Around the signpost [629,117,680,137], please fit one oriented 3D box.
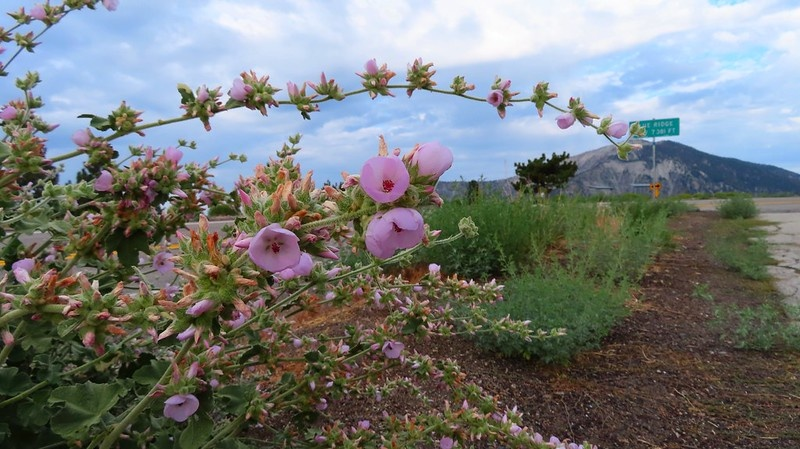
[{"bbox_3d":[20.592,-7.688,34.270,2.181,1.339,5.472,5,16,29],"label":"signpost"}]
